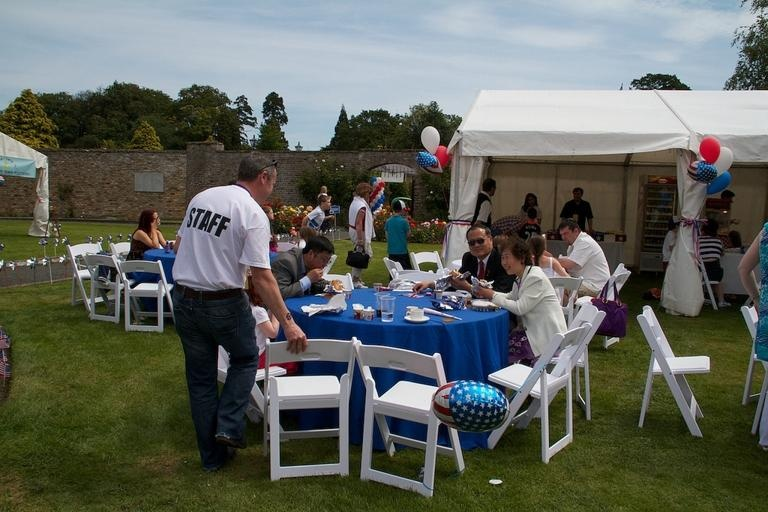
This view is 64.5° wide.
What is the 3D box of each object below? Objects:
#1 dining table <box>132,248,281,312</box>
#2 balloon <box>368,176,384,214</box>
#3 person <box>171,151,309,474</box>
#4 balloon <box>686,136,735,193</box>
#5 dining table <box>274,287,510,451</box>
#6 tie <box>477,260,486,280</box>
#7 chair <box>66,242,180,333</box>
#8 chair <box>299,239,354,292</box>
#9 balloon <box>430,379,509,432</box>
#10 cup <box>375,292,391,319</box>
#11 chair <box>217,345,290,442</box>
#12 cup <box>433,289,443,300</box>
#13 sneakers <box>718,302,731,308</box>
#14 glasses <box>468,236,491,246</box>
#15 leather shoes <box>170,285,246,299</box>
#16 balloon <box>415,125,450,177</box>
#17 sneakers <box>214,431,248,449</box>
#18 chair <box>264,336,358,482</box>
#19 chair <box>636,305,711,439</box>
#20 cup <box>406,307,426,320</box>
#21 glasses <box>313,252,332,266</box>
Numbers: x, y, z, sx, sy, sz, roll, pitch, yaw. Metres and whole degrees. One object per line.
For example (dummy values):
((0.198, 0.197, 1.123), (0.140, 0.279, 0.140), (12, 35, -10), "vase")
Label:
((-1.767, 0.238, 6.028), (0.748, 0.774, 0.791), (1, 6, 5), "dining table")
((-0.245, -1.433, 14.428), (0.264, 0.669, 0.864), (8, -17, 14), "balloon")
((-1.423, 0.444, 5.578), (1.324, 2.751, 0.914), (14, 13, 40), "person")
((5.180, -1.448, 9.632), (0.660, 0.884, 0.355), (-2, 9, -17), "balloon")
((0.053, 1.064, 5.466), (1.344, 0.733, 1.423), (0, 1, 2), "dining table")
((1.132, 0.158, 7.055), (0.095, 0.190, 0.048), (9, 3, 34), "tie")
((-3.682, 0.461, 8.647), (0.771, 1.326, 0.903), (5, 28, 4), "chair")
((-0.626, 0.060, 6.622), (0.443, 0.730, 0.511), (4, 8, 3), "chair")
((0.658, 1.133, 4.618), (0.601, 0.405, 0.418), (-3, -15, 21), "balloon")
((-0.011, 0.463, 5.876), (0.219, 0.267, 0.175), (1, -4, -3), "cup")
((-1.248, 1.277, 5.870), (0.807, 0.965, 0.595), (-5, 8, -21), "chair")
((0.576, 0.402, 6.456), (0.091, 0.094, 0.093), (0, -1, 0), "cup")
((5.896, 0.824, 10.539), (0.251, 0.119, 0.090), (-6, 5, -35), "sneakers")
((1.053, -0.165, 6.948), (0.201, 0.094, 0.087), (5, 9, 25), "glasses")
((-1.524, 0.305, 5.268), (0.599, 0.111, 0.137), (1, 9, 3), "leather shoes")
((0.725, -2.024, 11.062), (0.430, 0.986, 0.702), (-13, -5, 35), "balloon")
((-1.328, 1.600, 5.286), (0.104, 0.144, 0.307), (-9, -24, 16), "sneakers")
((-0.569, 1.311, 5.688), (0.991, 1.532, 1.063), (0, 2, -9), "chair")
((2.986, 1.099, 6.297), (0.656, 1.187, 0.999), (5, 10, 28), "chair")
((0.287, 0.534, 5.758), (0.106, 0.118, 0.160), (0, -3, -16), "cup")
((-0.665, 0.038, 6.501), (0.137, 0.167, 0.168), (-10, 48, -37), "glasses")
